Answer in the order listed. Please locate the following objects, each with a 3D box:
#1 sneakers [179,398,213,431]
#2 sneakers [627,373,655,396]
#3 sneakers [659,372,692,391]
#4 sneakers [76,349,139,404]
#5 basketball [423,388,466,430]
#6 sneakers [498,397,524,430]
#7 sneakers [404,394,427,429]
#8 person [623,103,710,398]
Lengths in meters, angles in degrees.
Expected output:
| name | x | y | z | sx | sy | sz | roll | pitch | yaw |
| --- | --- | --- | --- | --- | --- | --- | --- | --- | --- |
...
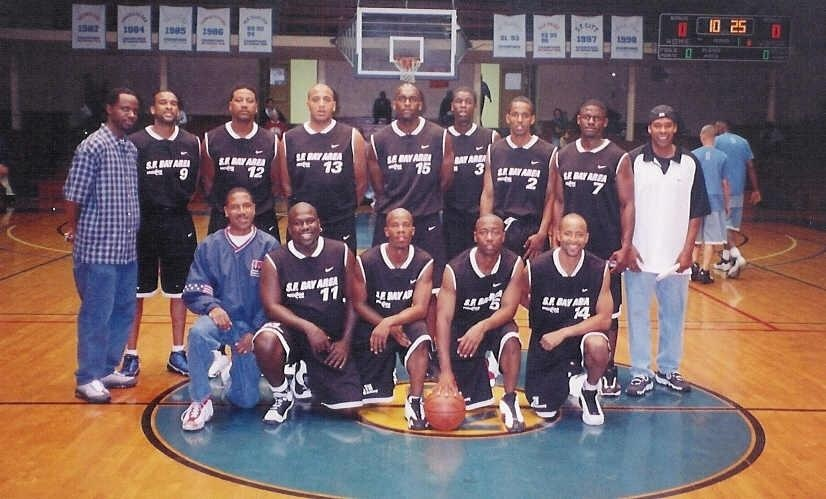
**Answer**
| name | x | y | z | sx | sy | sz | roll | pitch | yaw |
| --- | --- | --- | --- | --- | --- | --- | --- | --- | --- |
| sneakers | -1.946 | 1.486 | 7.252 | 0.347 | 0.238 | 0.233 | -7 | 13 | -32 |
| sneakers | 2.248 | 1.322 | 7.825 | 0.380 | 0.168 | 0.130 | -2 | 8 | -34 |
| sneakers | 2.606 | 1.298 | 7.890 | 0.277 | 0.118 | 0.133 | 10 | 10 | 34 |
| sneakers | -2.887 | 1.305 | 7.697 | 0.623 | 0.249 | 0.204 | -7 | 6 | -32 |
| basketball | 0.358 | 1.494 | 7.302 | 0.405 | 0.404 | 0.418 | -10 | -13 | 32 |
| sneakers | 0.920 | 1.482 | 7.248 | 0.230 | 0.279 | 0.237 | -1 | 11 | -4 |
| sneakers | 0.029 | 1.471 | 7.263 | 0.182 | 0.267 | 0.250 | -2 | 11 | -10 |
| person | 2.447 | 0.014 | 7.720 | 0.744 | 2.773 | 0.638 | 2 | 12 | 13 |
